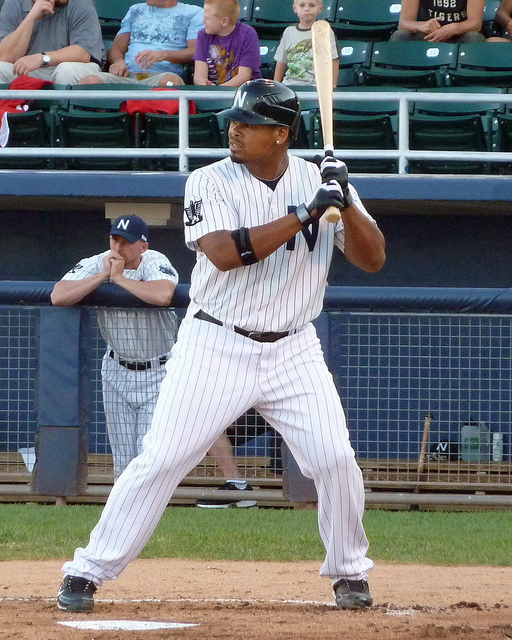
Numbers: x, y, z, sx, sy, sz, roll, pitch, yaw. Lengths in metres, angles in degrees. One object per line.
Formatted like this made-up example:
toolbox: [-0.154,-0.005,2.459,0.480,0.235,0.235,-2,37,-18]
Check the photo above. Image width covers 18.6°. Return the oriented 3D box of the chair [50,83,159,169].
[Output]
chair: [-1.060,-1.331,10.387,0.599,0.808,0.625,-1,-6,-1]

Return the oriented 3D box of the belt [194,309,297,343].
belt: [-0.053,0.021,6.460,0.418,0.125,0.075,1,6,-3]

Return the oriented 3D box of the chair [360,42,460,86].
chair: [1.060,-1.826,11.065,0.702,0.341,0.713,1,5,6]

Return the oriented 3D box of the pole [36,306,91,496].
pole: [-1.104,0.448,8.855,0.304,1.061,0.207,0,6,-6]

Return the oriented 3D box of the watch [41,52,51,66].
watch: [-1.469,-1.805,10.765,0.054,0.083,0.077,0,-26,-20]

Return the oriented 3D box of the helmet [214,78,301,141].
helmet: [0.000,-0.911,6.571,0.392,0.230,0.283,0,18,-32]

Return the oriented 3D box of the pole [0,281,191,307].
pole: [-0.881,-0.152,8.717,1.090,0.165,0.112,2,2,5]

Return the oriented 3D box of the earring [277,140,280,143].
earring: [0.081,-0.746,6.477,0.010,0.010,0.002,4,0,-6]

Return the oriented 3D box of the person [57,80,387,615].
person: [-0.136,0.116,6.488,1.317,2.257,0.686,1,8,-3]

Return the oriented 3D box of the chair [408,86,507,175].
chair: [1.305,-1.254,10.327,0.627,0.861,0.652,0,6,8]
